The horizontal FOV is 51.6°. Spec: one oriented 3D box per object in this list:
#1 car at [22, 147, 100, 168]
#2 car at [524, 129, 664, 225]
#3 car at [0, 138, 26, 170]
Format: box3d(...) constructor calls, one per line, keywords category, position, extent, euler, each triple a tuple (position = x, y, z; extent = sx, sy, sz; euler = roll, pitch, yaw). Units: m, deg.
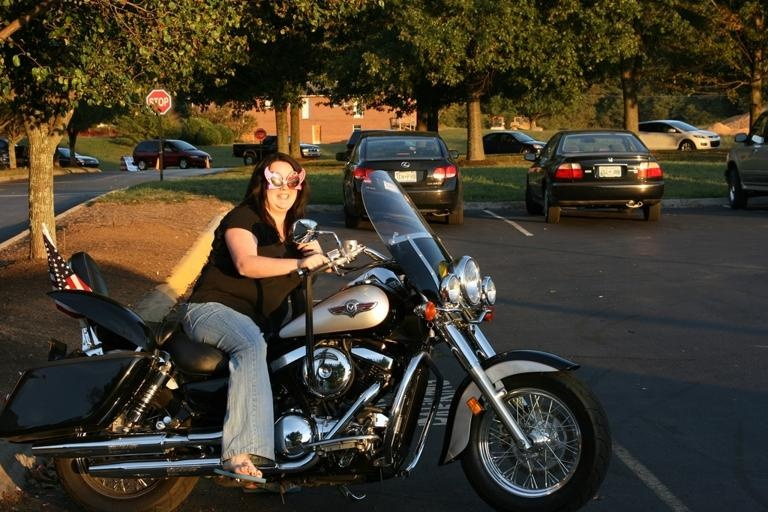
box3d(category="car", position=(-20.050, -6.292, 51.308), extent=(1.973, 1.543, 4.046), euler=(0, 13, 0))
box3d(category="car", position=(4.453, -1.826, 17.648), extent=(1.647, 1.314, 2.895), euler=(-1, 10, -3))
box3d(category="car", position=(-22.575, -6.301, 48.535), extent=(1.351, 1.971, 6.673), euler=(-6, 14, -22))
